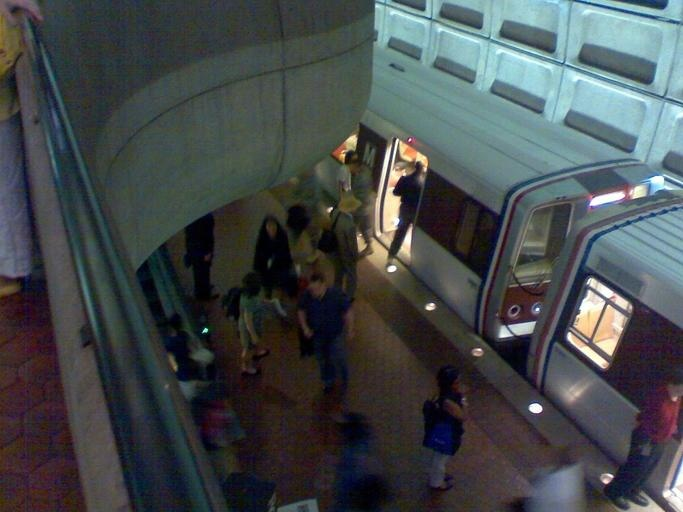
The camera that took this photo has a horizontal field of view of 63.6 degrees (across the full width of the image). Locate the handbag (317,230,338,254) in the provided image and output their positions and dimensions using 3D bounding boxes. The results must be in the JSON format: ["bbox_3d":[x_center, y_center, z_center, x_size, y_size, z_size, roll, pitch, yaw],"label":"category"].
[{"bbox_3d":[-0.200,-0.188,8.021,0.236,0.337,0.348,4,38,4],"label":"handbag"}]

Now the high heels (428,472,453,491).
[{"bbox_3d":[1.157,2.619,6.351,0.230,0.090,0.169,-15,49,-2],"label":"high heels"}]

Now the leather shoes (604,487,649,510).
[{"bbox_3d":[3.190,2.739,6.213,0.354,0.252,0.125,-11,35,7],"label":"leather shoes"}]

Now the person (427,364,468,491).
[{"bbox_3d":[1.091,1.890,6.003,0.428,1.751,0.521,4,22,10],"label":"person"}]
